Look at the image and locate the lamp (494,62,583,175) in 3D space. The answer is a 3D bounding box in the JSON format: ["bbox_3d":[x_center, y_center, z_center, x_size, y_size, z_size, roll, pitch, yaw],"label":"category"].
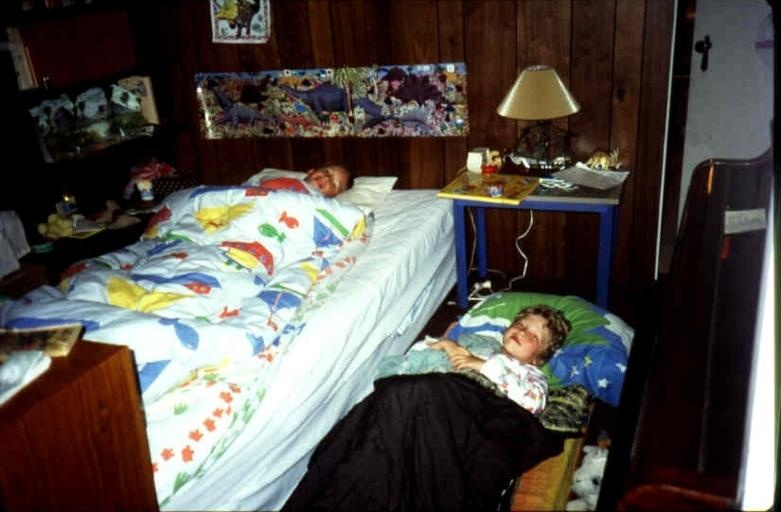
[{"bbox_3d":[0.758,-0.678,2.877,0.386,0.540,0.382,3,19,17],"label":"lamp"}]

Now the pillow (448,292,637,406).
[{"bbox_3d":[0.651,0.322,2.352,0.592,0.139,0.440,19,37,27],"label":"pillow"}]

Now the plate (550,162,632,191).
[{"bbox_3d":[0.990,-0.408,2.809,0.202,0.063,0.219,11,38,43],"label":"plate"}]

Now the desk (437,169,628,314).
[{"bbox_3d":[0.776,-0.035,3.027,0.866,0.602,0.540,6,11,21],"label":"desk"}]

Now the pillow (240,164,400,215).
[{"bbox_3d":[-0.332,-0.364,3.239,0.540,0.076,0.421,12,29,15],"label":"pillow"}]
